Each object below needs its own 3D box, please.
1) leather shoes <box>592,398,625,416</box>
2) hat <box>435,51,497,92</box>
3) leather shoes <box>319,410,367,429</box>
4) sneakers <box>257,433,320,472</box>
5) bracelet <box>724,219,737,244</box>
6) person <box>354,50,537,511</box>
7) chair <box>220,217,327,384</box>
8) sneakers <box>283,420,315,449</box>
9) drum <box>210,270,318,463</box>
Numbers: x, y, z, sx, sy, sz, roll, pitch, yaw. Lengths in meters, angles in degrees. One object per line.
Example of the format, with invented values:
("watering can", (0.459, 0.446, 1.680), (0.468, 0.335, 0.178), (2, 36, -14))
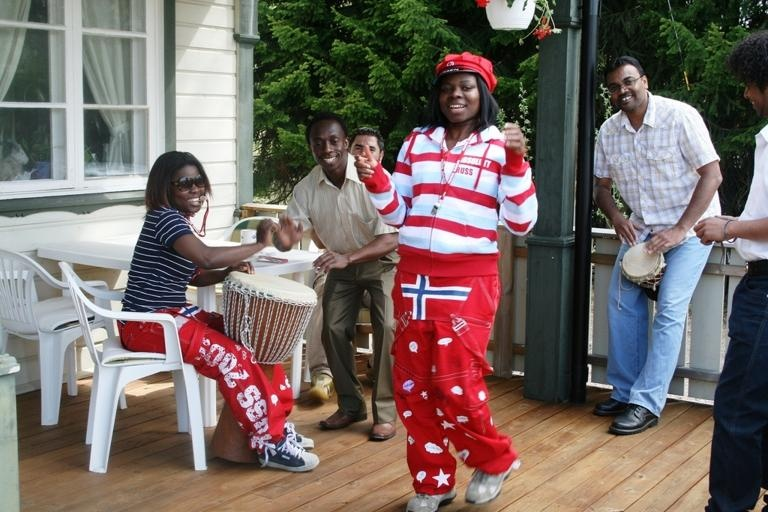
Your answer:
("leather shoes", (1.536, 1.037, 4.579), (0.229, 0.103, 0.094), (1, 3, -6))
("hat", (0.401, -0.904, 3.243), (0.277, 0.198, 0.326), (3, 12, 14))
("leather shoes", (-0.276, 1.074, 4.404), (0.330, 0.134, 0.111), (-1, -1, -25))
("sneakers", (-0.553, 1.129, 3.856), (0.382, 0.200, 0.185), (3, 11, 16))
("bracelet", (1.546, -0.118, 2.963), (0.036, 0.099, 0.081), (3, -15, 4))
("person", (0.332, 0.177, 3.267), (0.770, 2.288, 0.424), (4, 13, 21))
("chair", (-0.658, 0.312, 3.836), (0.507, 0.489, 0.533), (22, 8, -12))
("sneakers", (-0.534, 1.073, 3.961), (0.092, 0.113, 0.282), (24, -10, 34))
("drum", (-0.731, 0.654, 4.005), (0.600, 1.051, 0.621), (14, 4, -1))
